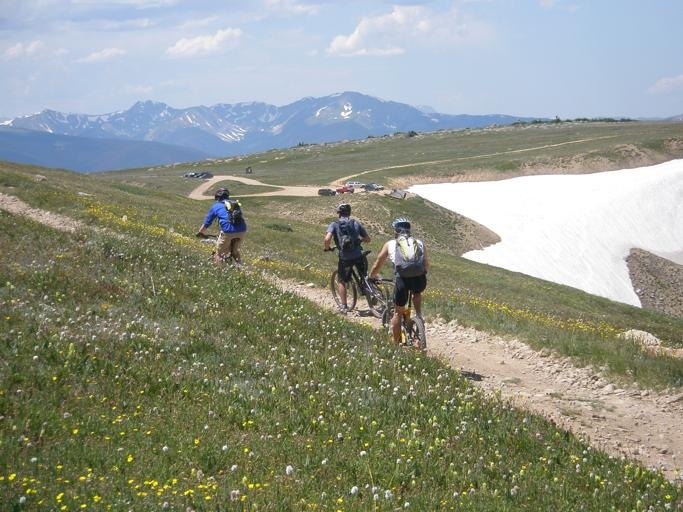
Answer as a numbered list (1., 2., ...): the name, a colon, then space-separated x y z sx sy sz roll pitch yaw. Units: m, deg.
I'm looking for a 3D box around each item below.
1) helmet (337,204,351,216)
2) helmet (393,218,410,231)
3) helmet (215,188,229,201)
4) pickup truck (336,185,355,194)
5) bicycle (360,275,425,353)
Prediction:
1. helmet: 0.088 -1.470 19.569 0.362 0.410 0.312 7 11 25
2. helmet: 1.554 -0.829 15.924 0.418 0.351 0.328 1 14 4
3. helmet: -4.171 -2.168 21.604 0.396 0.544 0.522 1 17 1
4. pickup truck: 0.703 -10.695 99.185 2.295 0.957 1.685 -5 10 -16
5. bicycle: 1.504 1.582 17.307 1.131 1.494 2.288 -7 20 -14
